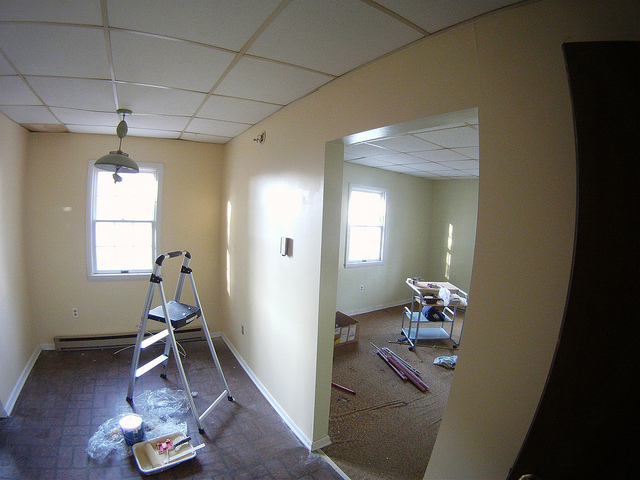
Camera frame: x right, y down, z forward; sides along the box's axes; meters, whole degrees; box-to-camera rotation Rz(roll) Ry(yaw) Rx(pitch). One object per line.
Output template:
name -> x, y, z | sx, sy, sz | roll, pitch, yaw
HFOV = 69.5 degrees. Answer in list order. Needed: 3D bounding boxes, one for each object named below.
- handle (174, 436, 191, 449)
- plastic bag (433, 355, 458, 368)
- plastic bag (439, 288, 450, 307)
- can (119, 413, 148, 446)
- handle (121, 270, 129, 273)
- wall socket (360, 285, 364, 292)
handle -> -1.129, 1.640, 3.815 | 0.175, 0.054, 0.045 | -29, -18, -17
plastic bag -> 1.467, 1.401, 5.422 | 0.233, 0.071, 0.231 | 10, 16, 26
plastic bag -> 1.579, 0.695, 5.810 | 0.039, 0.167, 0.171 | 6, 4, -8
can -> -1.568, 1.546, 3.889 | 0.211, 0.246, 0.212 | -1, -2, 38
handle -> -2.322, 0.363, 5.482 | 0.084, 0.028, 0.028 | -4, 15, -23
wall socket -> 0.651, 0.734, 7.118 | 0.088, 0.113, 0.005 | -11, 19, -43
